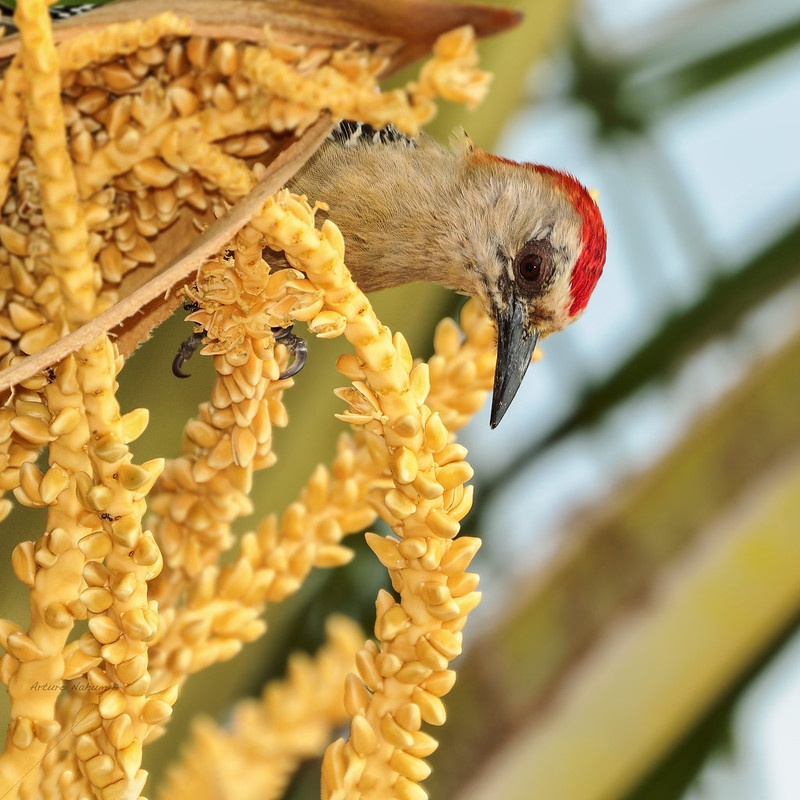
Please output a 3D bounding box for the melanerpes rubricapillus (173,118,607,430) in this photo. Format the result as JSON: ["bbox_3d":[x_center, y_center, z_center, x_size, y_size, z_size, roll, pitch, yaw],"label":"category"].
[{"bbox_3d":[0.085,-0.245,1.688,0.392,0.288,0.284,21,36,40],"label":"melanerpes rubricapillus"}]
